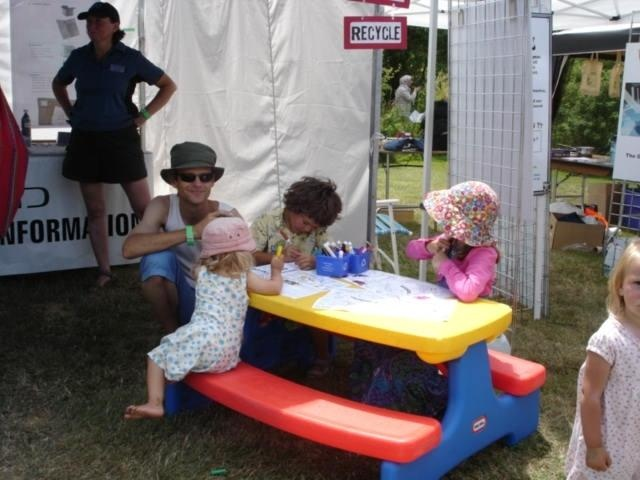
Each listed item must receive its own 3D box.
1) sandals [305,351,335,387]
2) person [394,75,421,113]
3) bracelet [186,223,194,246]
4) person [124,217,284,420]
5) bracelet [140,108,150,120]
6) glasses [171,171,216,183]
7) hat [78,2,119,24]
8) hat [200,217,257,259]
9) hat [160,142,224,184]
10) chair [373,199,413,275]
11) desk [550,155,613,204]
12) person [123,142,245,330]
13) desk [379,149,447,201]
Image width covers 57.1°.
[{"bbox_3d":[0.007,0.844,3.845,0.102,0.054,0.218,4,29,20],"label":"sandals"},{"bbox_3d":[2.176,-3.615,14.831,0.526,0.944,2.463,3,12,8],"label":"person"},{"bbox_3d":[-0.782,-0.029,3.545,0.035,0.105,0.101,-7,22,-9],"label":"bracelet"},{"bbox_3d":[-0.620,0.354,3.144,0.442,0.884,1.166,20,26,18],"label":"person"},{"bbox_3d":[-1.491,-1.069,5.001,0.066,0.094,0.103,-5,13,-30],"label":"bracelet"},{"bbox_3d":[-0.758,-0.397,3.673,0.259,0.071,0.144,-6,14,-30],"label":"glasses"},{"bbox_3d":[-1.836,-1.876,4.878,0.276,0.164,0.185,7,11,-37],"label":"hat"},{"bbox_3d":[-0.509,-0.017,3.248,0.333,0.225,0.346,-9,11,-19],"label":"hat"},{"bbox_3d":[-0.823,-0.516,3.784,0.406,0.250,0.489,-9,-7,-13],"label":"hat"},{"bbox_3d":[0.605,-0.020,5.618,0.507,0.686,0.547,1,4,44],"label":"chair"},{"bbox_3d":[3.330,-0.735,7.809,0.733,0.420,0.468,13,-4,19],"label":"desk"},{"bbox_3d":[-0.824,0.098,3.749,0.712,1.423,0.731,5,4,23],"label":"person"},{"bbox_3d":[1.859,-1.243,11.683,1.279,0.559,2.100,0,13,2],"label":"desk"}]
